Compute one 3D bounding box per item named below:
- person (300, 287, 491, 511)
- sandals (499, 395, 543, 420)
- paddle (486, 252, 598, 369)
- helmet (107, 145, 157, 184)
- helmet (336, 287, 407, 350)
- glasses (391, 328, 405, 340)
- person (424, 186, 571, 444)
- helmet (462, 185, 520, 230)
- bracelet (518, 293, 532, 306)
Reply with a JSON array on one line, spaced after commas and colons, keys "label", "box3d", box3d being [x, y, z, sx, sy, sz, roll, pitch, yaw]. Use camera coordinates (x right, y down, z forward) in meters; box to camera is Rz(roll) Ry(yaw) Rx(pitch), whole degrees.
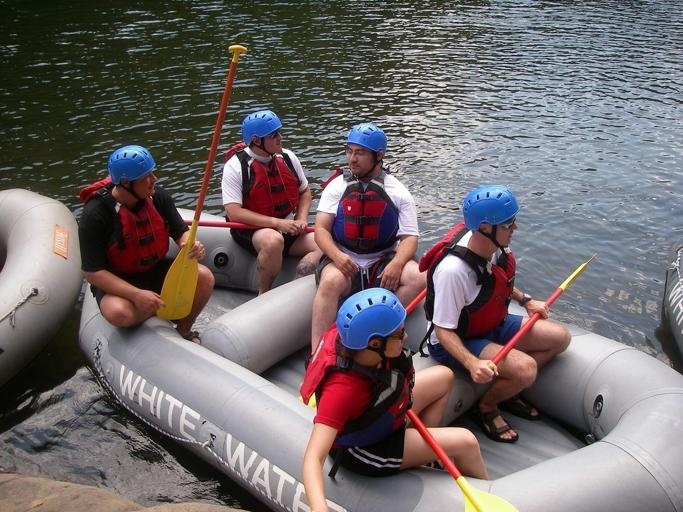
[{"label": "person", "box3d": [0.266, 0.928, 3.790, 1.228, 1.385, 0.783, -6, 28, -25]}, {"label": "sandals", "box3d": [1.400, 1.173, 4.888, 0.343, 0.141, 0.117, 17, 42, 33]}, {"label": "paddle", "box3d": [1.681, 0.481, 5.148, 0.148, 0.101, 1.293, 44, 63, 5]}, {"label": "helmet", "box3d": [-1.630, -0.701, 4.849, 0.371, 0.302, 0.277, 3, 25, 9]}, {"label": "helmet", "box3d": [0.316, 0.395, 3.711, 0.476, 0.310, 0.375, -7, -10, 33]}, {"label": "glasses", "box3d": [0.335, 0.456, 3.635, 0.069, 0.021, 0.070, 3, 19, 33]}, {"label": "person", "box3d": [1.134, 0.428, 4.703, 1.097, 1.945, 1.039, -12, 24, -15]}, {"label": "helmet", "box3d": [1.070, -0.362, 4.429, 0.429, 0.299, 0.340, 4, 24, 18]}, {"label": "bracelet", "box3d": [1.444, 0.348, 4.877, 0.074, 0.081, 0.051, -31, 57, -32]}]
